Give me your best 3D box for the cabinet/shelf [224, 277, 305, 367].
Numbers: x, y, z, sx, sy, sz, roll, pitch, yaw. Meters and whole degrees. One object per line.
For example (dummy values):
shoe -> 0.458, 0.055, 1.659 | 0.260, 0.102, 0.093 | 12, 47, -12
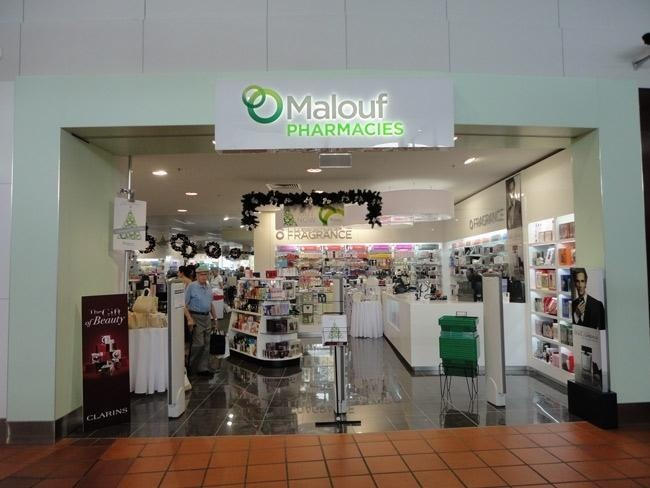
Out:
cabinet/shelf -> -1.264, 1.471, 10.524 | 0.956, 1.664, 1.705 | -5, 2, -35

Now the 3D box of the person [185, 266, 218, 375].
person -> -2.138, 1.329, 9.061 | 0.478, 1.929, 0.933 | -1, 5, -10

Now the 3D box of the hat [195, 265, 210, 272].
hat -> -2.107, 0.417, 9.031 | 0.188, 0.100, 0.261 | 1, -2, -17
